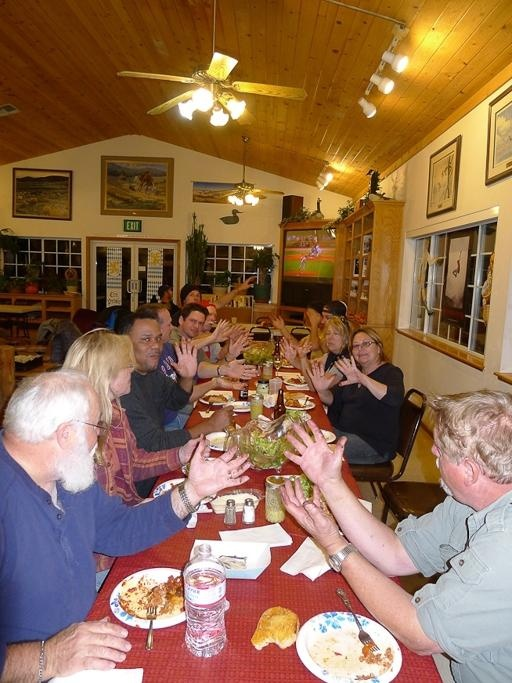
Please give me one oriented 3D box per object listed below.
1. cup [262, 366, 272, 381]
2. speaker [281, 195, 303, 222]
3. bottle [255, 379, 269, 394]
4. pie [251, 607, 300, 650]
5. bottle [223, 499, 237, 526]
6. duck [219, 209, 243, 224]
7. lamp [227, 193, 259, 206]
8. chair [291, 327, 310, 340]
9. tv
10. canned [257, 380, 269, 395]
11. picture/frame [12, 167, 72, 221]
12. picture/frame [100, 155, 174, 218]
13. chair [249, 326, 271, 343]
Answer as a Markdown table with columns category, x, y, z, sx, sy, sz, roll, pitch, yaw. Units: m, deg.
| category | x | y | z | sx | sy | sz | roll | pitch | yaw |
| --- | --- | --- | --- | --- | --- | --- | --- | --- | --- |
| cup | 0.086 | 0.257 | 3.887 | 0.094 | 0.138 | 0.091 | 1 | 6 | 0 |
| speaker | 0.674 | -2.484 | 9.130 | 0.430 | 0.524 | 0.792 | 1 | 7 | 2 |
| bottle | 0.036 | 0.305 | 3.239 | 0.085 | 0.090 | 0.082 | 2 | -1 | -27 |
| pie | 0.041 | 0.588 | 0.999 | 0.089 | 0.045 | 0.101 | 2 | 7 | 11 |
| bottle | -0.081 | 0.530 | 1.489 | 0.057 | 0.087 | 0.054 | 1 | -1 | 0 |
| duck | -0.504 | -2.435 | 9.585 | 0.383 | 0.270 | 0.220 | -1 | 25 | -5 |
| lamp | -0.184 | -1.950 | 6.737 | 0.390 | 0.109 | 0.515 | 0 | 6 | -7 |
| chair | 0.725 | -0.129 | 8.176 | 0.283 | 0.243 | 0.207 | 0 | 6 | 0 |
| tv | 0.999 | -1.634 | 8.868 | 1.439 | 1.372 | 0.074 | 0 | 1 | 36 |
| canned | 0.040 | 0.312 | 3.239 | 0.085 | 0.089 | 0.081 | 1 | -2 | -12 |
| picture/frame | -4.209 | -2.924 | 9.522 | 1.067 | 0.851 | 0.082 | 2 | 5 | -5 |
| picture/frame | -2.283 | -3.058 | 9.483 | 1.250 | 0.979 | 0.111 | 2 | 15 | 1 |
| chair | 0.060 | -0.093 | 6.738 | 0.292 | 0.195 | 0.216 | 1 | 0 | 12 |
